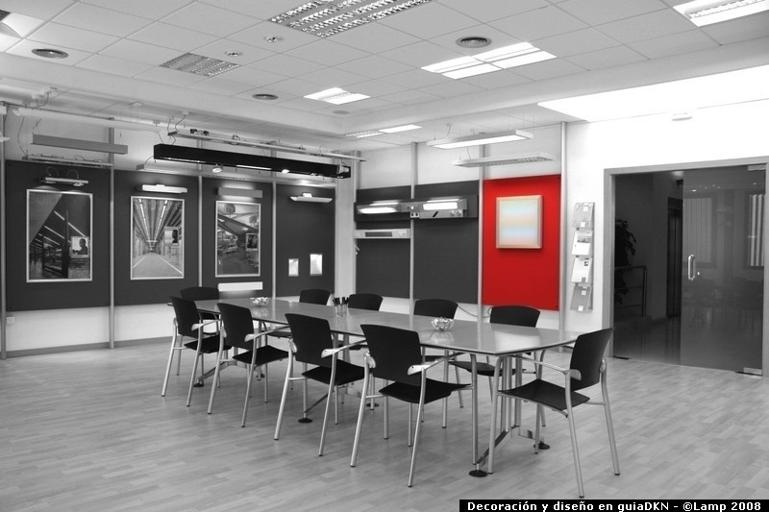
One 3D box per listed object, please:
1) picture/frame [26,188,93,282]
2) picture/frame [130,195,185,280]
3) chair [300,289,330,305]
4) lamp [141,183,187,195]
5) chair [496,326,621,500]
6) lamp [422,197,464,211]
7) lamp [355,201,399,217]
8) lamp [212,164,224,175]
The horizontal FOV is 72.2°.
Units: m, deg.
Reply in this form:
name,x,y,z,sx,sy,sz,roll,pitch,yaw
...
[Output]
name,x,y,z,sx,sy,sz,roll,pitch,yaw
picture/frame,-5.779,-0.343,9.344,1.040,1.624,0.177,-3,7,-30
picture/frame,-4.423,-0.338,10.238,0.988,1.604,0.251,-2,7,-23
chair,-1.130,0.672,8.458,0.318,0.332,0.308,-4,-17,4
lamp,-4.243,-1.281,10.197,0.877,0.197,0.292,-3,6,-38
chair,1.903,1.342,5.215,0.926,1.373,1.486,4,7,37
lamp,1.192,-1.045,10.826,0.897,0.244,0.131,4,7,41
lamp,-0.170,-1.065,11.902,0.185,0.271,1.195,-5,7,-42
lamp,-3.367,-1.708,10.587,0.240,0.064,0.225,2,-8,-30
